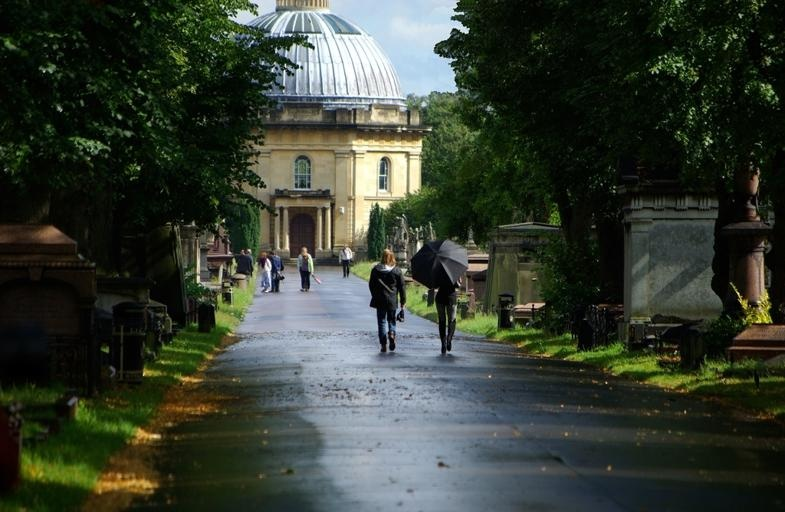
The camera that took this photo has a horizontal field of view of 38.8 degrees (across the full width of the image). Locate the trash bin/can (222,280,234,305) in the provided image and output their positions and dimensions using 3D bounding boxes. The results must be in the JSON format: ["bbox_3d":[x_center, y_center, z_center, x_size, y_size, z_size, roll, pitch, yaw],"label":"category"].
[{"bbox_3d":[-6.071,1.424,42.147,0.559,0.871,2.124,0,-3,-12],"label":"trash bin/can"}]

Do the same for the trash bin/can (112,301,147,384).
[{"bbox_3d":[-4.523,1.453,18.960,0.538,1.312,0.768,1,-1,-16],"label":"trash bin/can"}]

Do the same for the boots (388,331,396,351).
[{"bbox_3d":[-0.032,1.840,23.941,0.135,0.431,0.177,0,9,5],"label":"boots"}]

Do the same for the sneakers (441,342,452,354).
[{"bbox_3d":[1.137,1.960,23.845,0.172,0.242,0.099,2,-8,-4],"label":"sneakers"}]
